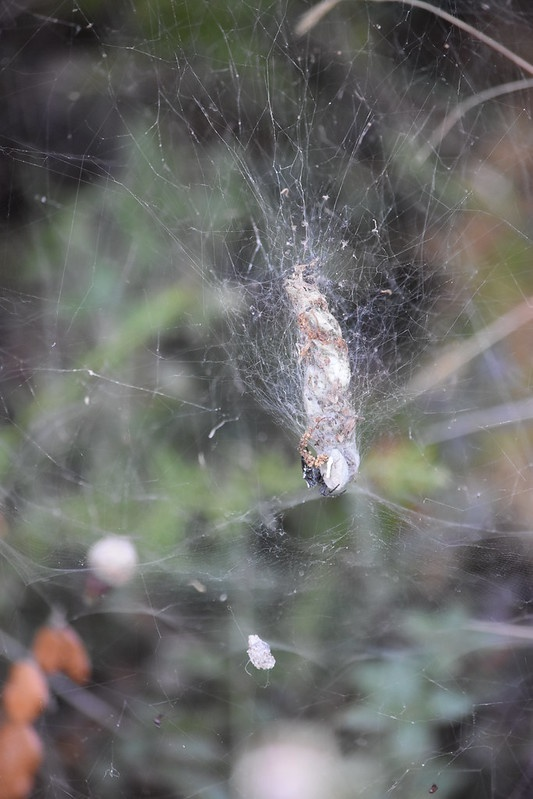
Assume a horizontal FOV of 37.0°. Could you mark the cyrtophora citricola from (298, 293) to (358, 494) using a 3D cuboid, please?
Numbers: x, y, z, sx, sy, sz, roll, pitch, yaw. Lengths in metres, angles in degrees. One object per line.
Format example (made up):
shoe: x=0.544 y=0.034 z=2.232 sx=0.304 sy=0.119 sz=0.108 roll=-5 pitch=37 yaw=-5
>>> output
cyrtophora citricola: x=0.192 y=-0.016 z=2.506 sx=0.198 sy=0.573 sz=0.182 roll=-7 pitch=4 yaw=5
